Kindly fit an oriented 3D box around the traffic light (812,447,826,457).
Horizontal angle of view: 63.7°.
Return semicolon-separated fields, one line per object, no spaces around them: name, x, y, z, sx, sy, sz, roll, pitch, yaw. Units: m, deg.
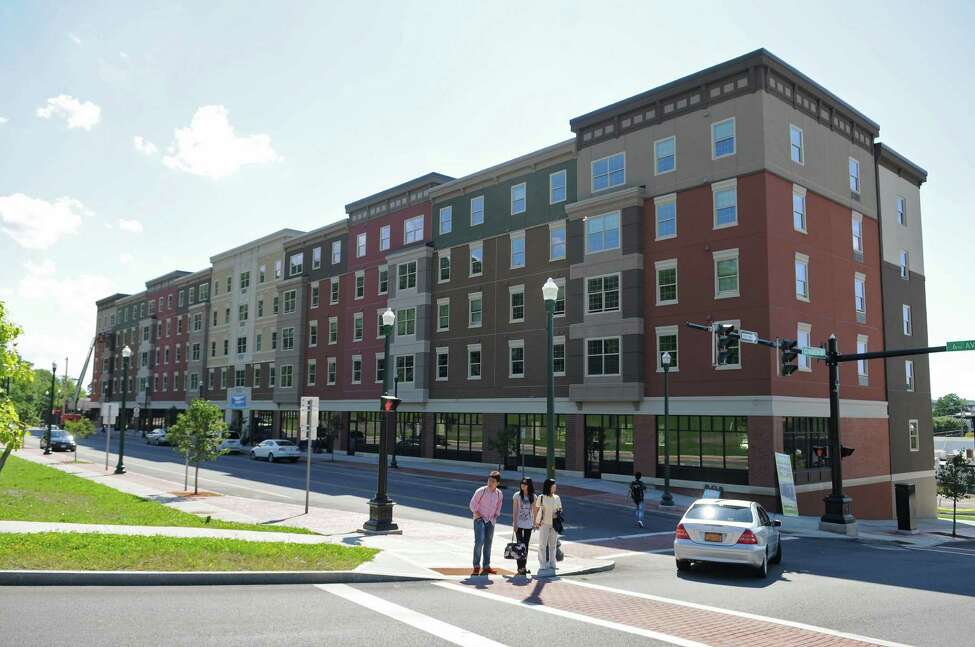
traffic light;14.079;5.427;33.127;0.398;0.489;1.166;-1;-15;20

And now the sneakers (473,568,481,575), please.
sneakers;-0.320;6.948;21.993;0.150;0.212;0.174;-2;-6;12

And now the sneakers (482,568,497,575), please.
sneakers;0.082;6.951;22.119;0.493;0.205;0.169;1;-1;-17

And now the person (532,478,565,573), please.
person;1.678;5.713;21.938;0.691;2.603;1.017;2;-14;7

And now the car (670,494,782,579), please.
car;7.135;6.323;23.200;3.142;2.238;1.802;4;-14;-3

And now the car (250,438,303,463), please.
car;-14.654;8.818;54.345;3.832;1.596;1.542;-10;-19;42

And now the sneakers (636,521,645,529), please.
sneakers;6.066;7.987;31.205;0.275;0.329;0.231;-9;-26;40
